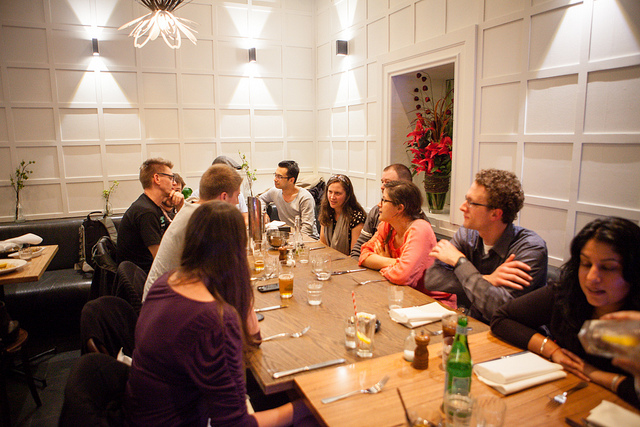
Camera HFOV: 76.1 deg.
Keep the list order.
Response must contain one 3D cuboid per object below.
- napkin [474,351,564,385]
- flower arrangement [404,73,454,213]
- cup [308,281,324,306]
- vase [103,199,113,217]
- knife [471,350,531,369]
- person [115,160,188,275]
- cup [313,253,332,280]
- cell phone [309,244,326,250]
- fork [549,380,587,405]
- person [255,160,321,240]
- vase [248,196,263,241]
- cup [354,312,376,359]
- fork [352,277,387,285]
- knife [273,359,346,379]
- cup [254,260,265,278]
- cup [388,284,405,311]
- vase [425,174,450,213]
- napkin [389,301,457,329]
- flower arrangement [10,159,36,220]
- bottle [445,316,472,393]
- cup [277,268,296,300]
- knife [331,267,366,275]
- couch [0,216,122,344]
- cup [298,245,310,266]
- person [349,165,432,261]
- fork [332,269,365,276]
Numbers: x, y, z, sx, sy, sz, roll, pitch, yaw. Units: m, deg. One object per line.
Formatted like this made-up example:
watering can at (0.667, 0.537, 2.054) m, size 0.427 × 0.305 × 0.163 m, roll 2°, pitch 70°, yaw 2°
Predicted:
napkin at (1.027, 0.795, 2.121) m, size 0.295 × 0.053 × 0.174 m, roll -7°, pitch 13°, yaw -21°
flower arrangement at (1.262, -0.827, 4.743) m, size 0.502 × 1.642 × 0.871 m, roll 2°, pitch 8°, yaw 13°
cup at (-0.030, 0.533, 2.739) m, size 0.134 × 0.154 × 0.136 m, roll -1°, pitch 1°, yaw 0°
vase at (-2.946, -0.086, 5.671) m, size 0.116 × 0.210 × 0.239 m, roll -4°, pitch 9°, yaw -27°
knife at (0.973, 0.784, 2.192) m, size 0.298 × 0.023 × 0.024 m, roll -12°, pitch 7°, yaw -15°
person at (-1.524, 0.166, 3.947) m, size 0.752 × 1.387 × 0.612 m, roll 6°, pitch 7°, yaw -21°
cup at (0.036, 0.410, 3.177) m, size 0.147 × 0.210 × 0.221 m, roll -3°, pitch -6°, yaw 15°
cell phone at (-0.028, 0.326, 3.979) m, size 0.229 × 0.042 × 0.046 m, roll -2°, pitch 0°, yaw -16°
fork at (1.241, 0.884, 2.032) m, size 0.243 × 0.026 × 0.077 m, roll -26°, pitch 30°, yaw -23°
person at (-0.444, -0.135, 5.122) m, size 0.826 × 1.042 × 0.713 m, roll 9°, pitch 22°, yaw 20°
vase at (-0.608, 0.054, 3.835) m, size 0.125 × 0.420 × 0.180 m, roll -1°, pitch 8°, yaw -9°
cup at (0.223, 0.712, 2.337) m, size 0.145 × 0.218 × 0.140 m, roll -1°, pitch -15°, yaw 0°
fork at (0.377, 0.512, 3.099) m, size 0.259 × 0.041 × 0.037 m, roll 0°, pitch 10°, yaw -16°
knife at (-0.054, 0.837, 2.194) m, size 0.297 × 0.017 × 0.033 m, roll -5°, pitch 22°, yaw -22°
cup at (-0.478, 0.459, 3.320) m, size 0.101 × 0.115 × 0.101 m, roll 0°, pitch 1°, yaw 0°
cup at (0.506, 0.548, 2.675) m, size 0.139 × 0.159 × 0.139 m, roll 2°, pitch -3°, yaw 0°
vase at (1.401, -0.272, 4.824) m, size 0.352 × 0.557 × 0.367 m, roll 3°, pitch 2°, yaw 6°
napkin at (0.635, 0.630, 2.563) m, size 0.232 × 0.043 × 0.180 m, roll -5°, pitch 6°, yaw -28°
flower arrangement at (-3.858, -0.316, 5.352) m, size 0.284 × 0.760 × 0.131 m, roll -6°, pitch 10°, yaw -35°
bottle at (0.660, 0.675, 1.941) m, size 0.116 × 0.399 × 0.134 m, roll 3°, pitch 9°, yaw 19°
cup at (-0.238, 0.498, 2.868) m, size 0.139 × 0.219 × 0.148 m, roll -1°, pitch 12°, yaw 0°
knife at (0.228, 0.465, 3.292) m, size 0.332 × 0.027 × 0.054 m, roll -1°, pitch 19°, yaw -27°
couch at (-2.456, 0.646, 3.844) m, size 1.173 × 0.860 × 0.617 m, roll -3°, pitch 10°, yaw -27°
cup at (-0.146, 0.372, 3.560) m, size 0.126 × 0.146 × 0.130 m, roll 0°, pitch -2°, yaw 0°
person at (0.600, 0.014, 4.433) m, size 0.831 × 1.212 × 0.908 m, roll 3°, pitch -4°, yaw -9°
fork at (0.229, 0.462, 3.292) m, size 0.305 × 0.024 × 0.084 m, roll -2°, pitch 10°, yaw -25°
